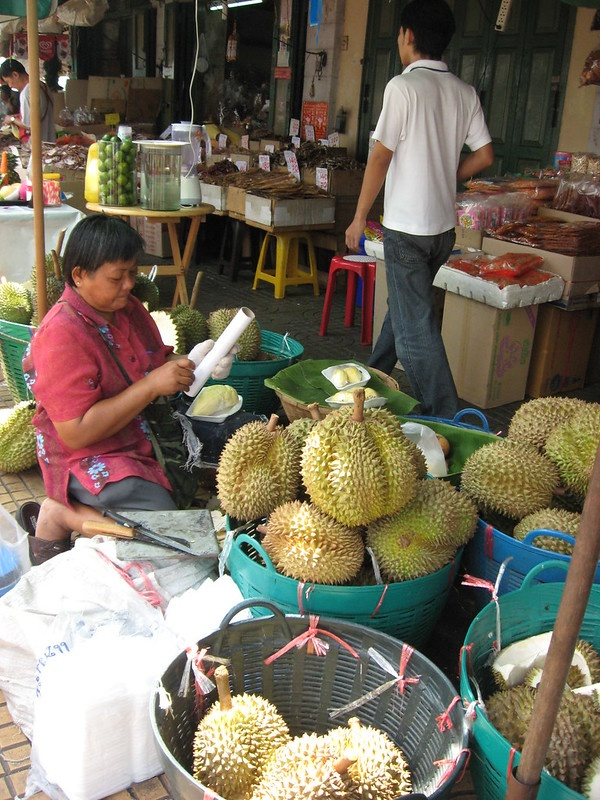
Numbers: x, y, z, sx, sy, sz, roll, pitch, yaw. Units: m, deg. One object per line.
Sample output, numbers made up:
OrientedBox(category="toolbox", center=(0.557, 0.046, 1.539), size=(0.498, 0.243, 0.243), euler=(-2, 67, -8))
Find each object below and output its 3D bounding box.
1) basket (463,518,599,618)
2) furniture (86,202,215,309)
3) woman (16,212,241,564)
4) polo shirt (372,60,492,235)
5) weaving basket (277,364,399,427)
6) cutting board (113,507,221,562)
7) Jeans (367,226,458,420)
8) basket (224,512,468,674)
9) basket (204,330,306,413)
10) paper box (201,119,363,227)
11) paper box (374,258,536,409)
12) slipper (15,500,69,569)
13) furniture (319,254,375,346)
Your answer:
OrientedBox(category="basket", center=(0.630, 0.442, 1.752), size=(0.326, 0.216, 0.301), euler=(15, 3, 32))
OrientedBox(category="furniture", center=(-1.029, -1.080, 4.916), size=(0.717, 0.758, 0.656), euler=(-7, 13, -3))
OrientedBox(category="woman", center=(-0.654, 0.002, 2.172), size=(0.599, 1.252, 0.752), euler=(-9, 23, -33))
OrientedBox(category="polo shirt", center=(0.738, -1.409, 3.453), size=(0.692, 0.916, 0.337), euler=(2, 20, -7))
OrientedBox(category="weaving basket", center=(0.041, -0.018, 2.684), size=(0.392, 0.121, 0.380), euler=(-6, 19, -16))
OrientedBox(category="cutting board", center=(-0.400, 0.427, 1.936), size=(0.190, 0.045, 0.197), euler=(-3, 19, -21))
OrientedBox(category="Jeans", center=(0.664, -0.501, 3.780), size=(0.463, 1.164, 0.875), euler=(-6, 21, -21))
OrientedBox(category="basket", center=(0.083, 0.421, 1.585), size=(0.443, 0.271, 0.441), euler=(10, 14, 42))
OrientedBox(category="basket", center=(-0.339, -0.163, 3.611), size=(0.679, 0.404, 0.654), euler=(-8, 17, -12))
OrientedBox(category="paper box", center=(-0.183, -2.437, 6.783), size=(1.857, 0.531, 1.652), euler=(-6, 31, -12))
OrientedBox(category="paper box", center=(1.005, -0.419, 3.814), size=(0.288, 0.728, 0.881), euler=(-8, 20, -23))
OrientedBox(category="slipper", center=(-0.902, 0.475, 2.152), size=(0.095, 0.238, 0.082), euler=(-13, 9, -8))
OrientedBox(category="furniture", center=(0.324, -0.868, 5.445), size=(0.640, 0.668, 0.657), euler=(-1, -6, 11))
